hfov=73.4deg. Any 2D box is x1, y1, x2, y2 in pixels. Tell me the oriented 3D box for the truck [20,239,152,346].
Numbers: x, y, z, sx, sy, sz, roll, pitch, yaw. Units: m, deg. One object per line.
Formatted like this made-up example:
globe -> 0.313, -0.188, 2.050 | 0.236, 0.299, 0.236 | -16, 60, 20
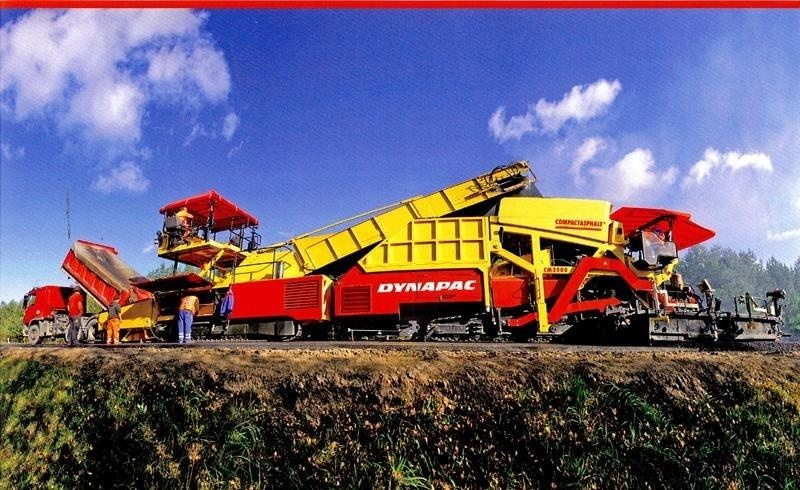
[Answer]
truck -> -13.272, 2.292, 24.169 | 9.351, 4.344, 3.060 | -6, -18, 37
